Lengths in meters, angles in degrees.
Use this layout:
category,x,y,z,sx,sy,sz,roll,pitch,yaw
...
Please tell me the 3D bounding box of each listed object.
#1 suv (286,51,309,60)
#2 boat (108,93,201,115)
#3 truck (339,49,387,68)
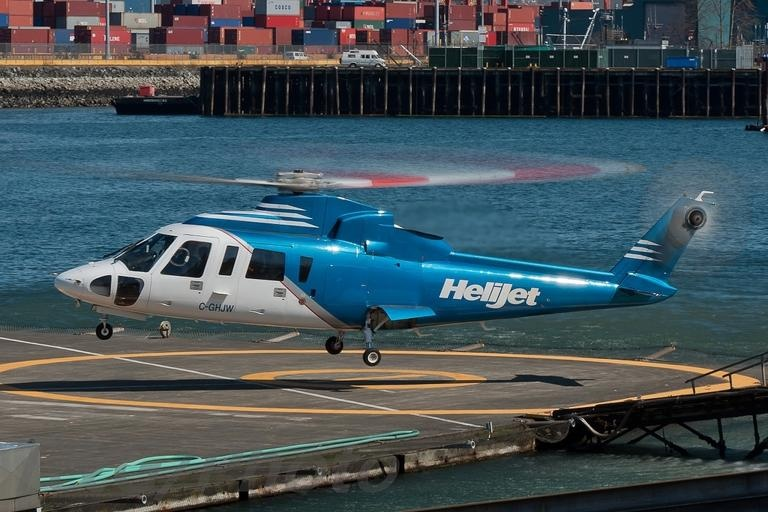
category,x,y,z,sx,sy,sz,roll,pitch,yaw
suv,-10.811,-25.208,134.481,3.395,0.797,1.754,-4,13,-17
boat,-24.478,-15.763,112.436,5.500,2.051,6.454,6,11,45
truck,-2.403,-20.340,110.586,6.428,1.305,2.444,0,8,-2
